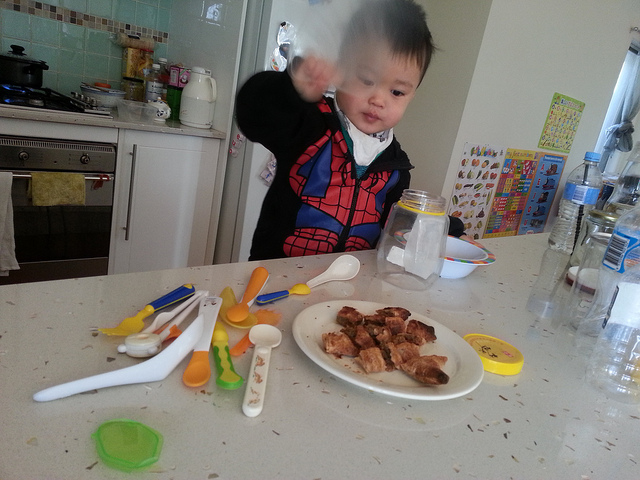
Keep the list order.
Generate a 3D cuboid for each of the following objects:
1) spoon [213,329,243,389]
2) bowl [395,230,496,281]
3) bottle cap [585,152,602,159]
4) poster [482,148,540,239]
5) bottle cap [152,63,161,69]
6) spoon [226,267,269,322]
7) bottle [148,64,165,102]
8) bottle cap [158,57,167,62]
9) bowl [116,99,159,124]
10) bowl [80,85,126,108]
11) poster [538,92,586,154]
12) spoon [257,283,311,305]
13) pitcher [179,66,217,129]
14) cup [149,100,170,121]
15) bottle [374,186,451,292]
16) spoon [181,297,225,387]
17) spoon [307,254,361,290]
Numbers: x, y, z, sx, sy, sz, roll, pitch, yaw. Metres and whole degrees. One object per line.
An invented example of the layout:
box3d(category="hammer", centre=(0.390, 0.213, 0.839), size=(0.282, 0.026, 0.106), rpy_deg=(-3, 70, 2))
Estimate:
box3d(category="spoon", centre=(-0.148, 0.184, 0.685), size=(0.034, 0.013, 0.123), rpy_deg=(6, 13, -21))
box3d(category="bowl", centre=(0.358, 0.048, 1.147), size=(0.196, 0.042, 0.195), rpy_deg=(5, 24, -2))
box3d(category="bottle cap", centre=(0.780, -0.234, 1.276), size=(0.031, 0.018, 0.032), rpy_deg=(-1, 10, 2))
box3d(category="poster", centre=(1.065, -0.251, 2.492), size=(0.360, 0.503, 0.006), rpy_deg=(-6, 21, -37))
box3d(category="bottle cap", centre=(-0.839, -0.890, 2.302), size=(0.042, 0.016, 0.042), rpy_deg=(-6, 20, -29))
box3d(category="spoon", centre=(-0.130, 0.100, 0.831), size=(0.037, 0.027, 0.165), rpy_deg=(19, 30, 3))
box3d(category="bottle", centre=(-0.814, -0.784, 2.232), size=(0.074, 0.177, 0.221), rpy_deg=(0, 19, -19))
box3d(category="bottle cap", centre=(-0.790, -0.906, 2.259), size=(0.035, 0.014, 0.035), rpy_deg=(-2, 10, -34))
box3d(category="bowl", centre=(-0.791, -0.555, 1.947), size=(0.151, 0.068, 0.108), rpy_deg=(19, 16, 30))
box3d(category="bowl", centre=(-0.999, -0.659, 2.065), size=(0.212, 0.088, 0.101), rpy_deg=(13, 19, 19))
box3d(category="poster", centre=(1.417, -0.680, 2.617), size=(0.424, 0.313, 0.016), rpy_deg=(-3, 19, -39))
box3d(category="spoon", centre=(-0.071, 0.106, 0.877), size=(0.035, 0.017, 0.118), rpy_deg=(14, 13, 35))
box3d(category="pitcher", centre=(-0.565, -0.656, 2.077), size=(0.168, 0.264, 0.102), rpy_deg=(2, 18, -14))
box3d(category="cup", centre=(-0.710, -0.586, 2.023), size=(0.095, 0.092, 0.076), rpy_deg=(-14, 25, -25))
box3d(category="bottle", centre=(0.225, -0.014, 1.029), size=(0.125, 0.224, 0.136), rpy_deg=(3, 28, -2))
box3d(category="spoon", centre=(-0.179, 0.146, 0.695), size=(0.032, 0.018, 0.121), rpy_deg=(10, 38, -14))
box3d(category="spoon", centre=(0.034, 0.075, 1.024), size=(0.147, 0.051, 0.025), rpy_deg=(-27, -6, -37))
